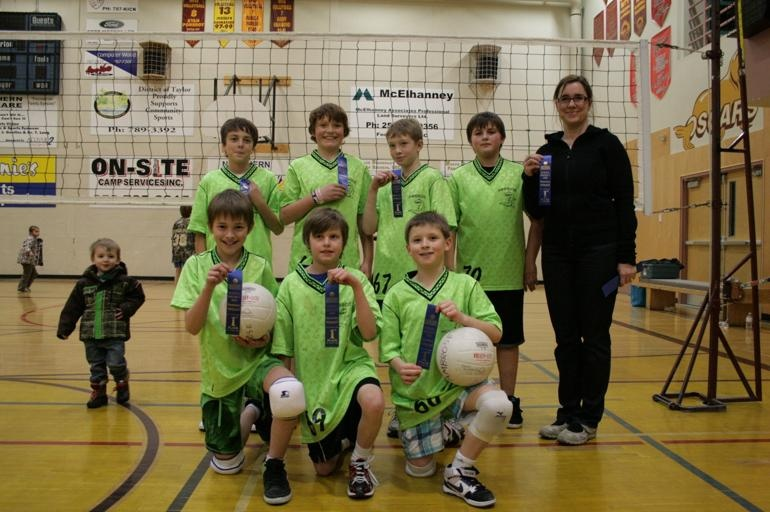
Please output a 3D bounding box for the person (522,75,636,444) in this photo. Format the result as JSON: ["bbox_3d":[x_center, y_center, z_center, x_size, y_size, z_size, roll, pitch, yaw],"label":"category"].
[{"bbox_3d":[1.762,-0.036,6.377,0.933,3.329,0.972,0,1,0],"label":"person"}]

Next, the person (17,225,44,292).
[{"bbox_3d":[-7.315,0.047,13.890,0.432,1.234,1.695,-2,6,-27],"label":"person"}]

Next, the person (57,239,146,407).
[{"bbox_3d":[-2.812,0.666,6.690,0.794,1.629,0.432,-1,-2,-14],"label":"person"}]

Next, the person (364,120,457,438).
[{"bbox_3d":[0.241,0.181,6.484,0.896,2.950,0.842,3,8,24],"label":"person"}]

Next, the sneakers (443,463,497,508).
[{"bbox_3d":[0.676,1.804,5.354,0.407,0.281,0.142,5,7,32],"label":"sneakers"}]

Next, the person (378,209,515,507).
[{"bbox_3d":[0.482,0.812,5.736,0.889,2.381,0.996,0,1,-9],"label":"person"}]

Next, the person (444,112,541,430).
[{"bbox_3d":[0.989,0.106,6.481,0.759,2.801,0.806,0,1,-4],"label":"person"}]

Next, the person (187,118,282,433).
[{"bbox_3d":[-1.509,0.104,6.537,0.950,2.688,1.046,0,1,-18],"label":"person"}]

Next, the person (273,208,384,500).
[{"bbox_3d":[-0.473,0.750,5.671,0.807,2.294,0.926,0,1,-10],"label":"person"}]
